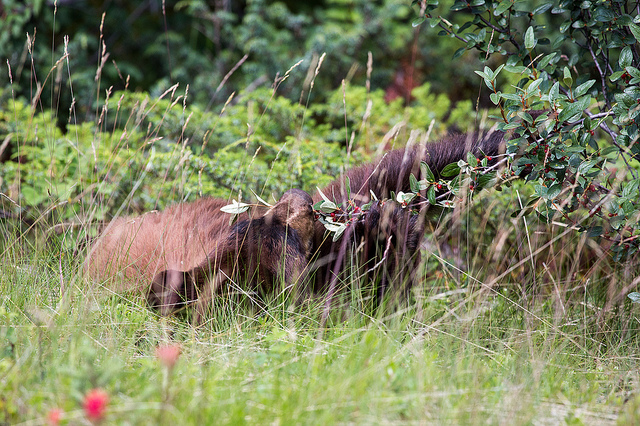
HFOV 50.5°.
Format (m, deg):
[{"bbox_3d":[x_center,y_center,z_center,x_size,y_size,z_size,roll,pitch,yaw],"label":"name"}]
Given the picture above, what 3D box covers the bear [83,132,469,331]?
[{"bbox_3d":[-0.395,0.208,4.558,2.181,1.213,0.690,14,17,-7],"label":"bear"}]
